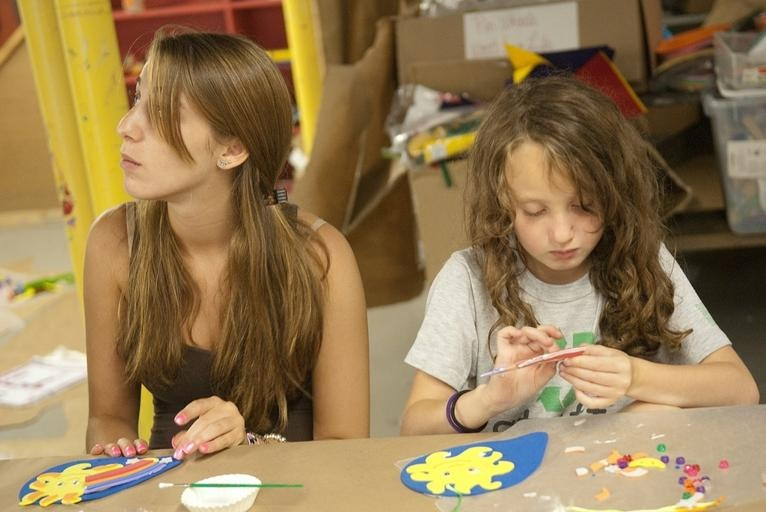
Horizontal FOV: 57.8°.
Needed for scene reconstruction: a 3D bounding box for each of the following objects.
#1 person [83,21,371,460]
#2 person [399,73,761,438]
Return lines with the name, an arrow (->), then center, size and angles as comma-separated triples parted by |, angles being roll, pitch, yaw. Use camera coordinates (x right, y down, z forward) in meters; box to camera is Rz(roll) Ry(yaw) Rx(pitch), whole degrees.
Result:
person -> -0.526, -0.014, 2.053 | 0.868, 1.245, 0.430 | -11, 15, -4
person -> 0.469, 0.009, 1.897 | 0.950, 0.949, 0.550 | -10, 15, -1
